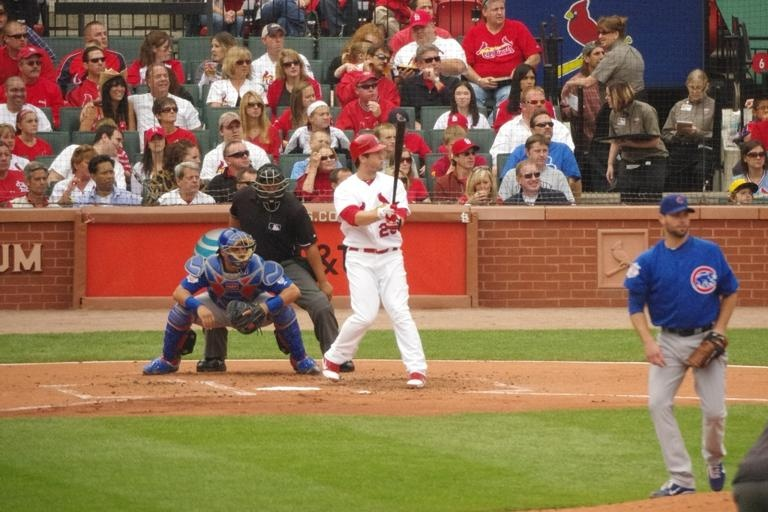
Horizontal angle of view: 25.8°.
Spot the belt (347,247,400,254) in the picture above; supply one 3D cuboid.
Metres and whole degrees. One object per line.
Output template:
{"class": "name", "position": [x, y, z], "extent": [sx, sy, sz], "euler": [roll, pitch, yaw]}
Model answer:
{"class": "belt", "position": [-0.135, -0.089, 23.909], "extent": [0.730, 0.080, 0.169], "euler": [1, 13, 1]}

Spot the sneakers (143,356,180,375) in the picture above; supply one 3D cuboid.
{"class": "sneakers", "position": [-3.258, 1.643, 24.631], "extent": [0.612, 0.250, 0.216], "euler": [1, 1, -9]}

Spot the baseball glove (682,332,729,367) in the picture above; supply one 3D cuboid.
{"class": "baseball glove", "position": [4.117, 1.124, 21.291], "extent": [0.338, 0.549, 0.234], "euler": [42, -4, -15]}

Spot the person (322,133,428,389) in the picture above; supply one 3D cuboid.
{"class": "person", "position": [-0.094, 0.059, 23.972], "extent": [1.481, 3.542, 0.964], "euler": [3, 14, 9]}

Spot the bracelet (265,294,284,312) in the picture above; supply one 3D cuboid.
{"class": "bracelet", "position": [-1.569, 0.689, 24.257], "extent": [0.207, 0.226, 0.245], "euler": [4, 12, 22]}

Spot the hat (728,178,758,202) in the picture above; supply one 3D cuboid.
{"class": "hat", "position": [6.342, -1.156, 29.537], "extent": [0.326, 0.263, 0.509], "euler": [2, -32, -7]}

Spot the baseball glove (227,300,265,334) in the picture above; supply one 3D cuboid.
{"class": "baseball glove", "position": [-1.983, 0.893, 24.324], "extent": [0.545, 0.531, 0.345], "euler": [-1, 14, -9]}

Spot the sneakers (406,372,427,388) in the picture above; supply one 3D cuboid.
{"class": "sneakers", "position": [0.484, 1.782, 23.900], "extent": [0.191, 0.149, 0.369], "euler": [-1, -9, 5]}

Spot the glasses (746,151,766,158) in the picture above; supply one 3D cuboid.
{"class": "glasses", "position": [6.539, -1.786, 29.400], "extent": [0.310, 0.139, 0.168], "euler": [3, 14, 8]}

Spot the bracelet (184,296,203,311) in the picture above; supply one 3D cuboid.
{"class": "bracelet", "position": [-2.752, 0.716, 24.321], "extent": [0.162, 0.177, 0.215], "euler": [-37, -18, 2]}

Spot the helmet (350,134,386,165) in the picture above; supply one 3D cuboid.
{"class": "helmet", "position": [-0.236, -1.559, 23.975], "extent": [0.479, 0.399, 0.381], "euler": [-3, 14, -16]}

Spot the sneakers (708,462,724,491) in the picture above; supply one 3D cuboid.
{"class": "sneakers", "position": [4.221, 2.791, 21.114], "extent": [0.239, 0.357, 0.291], "euler": [0, 14, -1]}

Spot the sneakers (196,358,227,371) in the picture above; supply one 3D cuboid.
{"class": "sneakers", "position": [-2.567, 1.626, 24.917], "extent": [0.375, 0.154, 0.183], "euler": [3, -2, -1]}

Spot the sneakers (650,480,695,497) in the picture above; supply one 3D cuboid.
{"class": "sneakers", "position": [3.598, 2.904, 20.883], "extent": [0.558, 0.224, 0.199], "euler": [3, -8, -5]}
